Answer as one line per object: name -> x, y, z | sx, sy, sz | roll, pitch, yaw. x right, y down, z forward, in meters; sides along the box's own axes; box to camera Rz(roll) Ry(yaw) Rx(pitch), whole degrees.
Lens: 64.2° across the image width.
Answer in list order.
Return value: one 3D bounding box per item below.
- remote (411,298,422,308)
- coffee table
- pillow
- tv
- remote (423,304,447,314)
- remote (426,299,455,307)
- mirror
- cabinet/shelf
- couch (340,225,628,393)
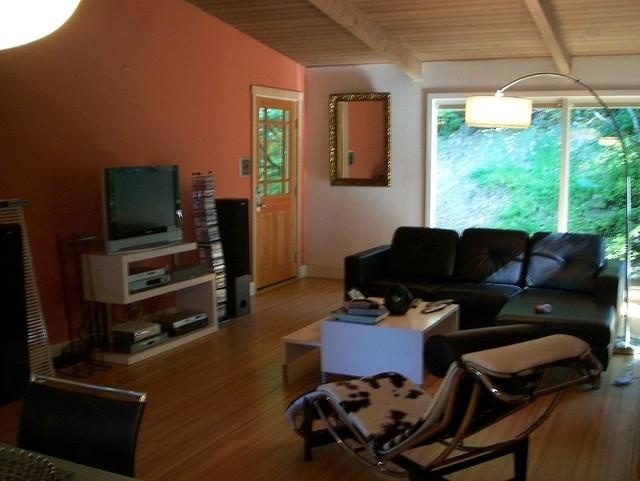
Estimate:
remote -> 0.793, 0.527, 4.276 | 0.064, 0.017, 0.091 | 3, 13, 25
coffee table -> 0.332, 0.780, 3.949 | 0.844, 0.346, 0.800 | 2, 5, 27
pillow -> 0.894, 0.633, 2.806 | 0.757, 0.312, 0.260 | -7, 11, -10
tv -> -1.674, -0.276, 4.681 | 0.398, 0.797, 0.937 | 1, 6, 33
remote -> 0.909, 0.556, 4.128 | 0.140, 0.024, 0.077 | -6, 8, -5
remote -> 0.996, 0.515, 4.245 | 0.198, 0.041, 0.094 | -5, 6, -14
mirror -> 0.559, -1.427, 7.224 | 0.866, 1.313, 0.159 | 0, 10, 24
cabinet/shelf -> -1.635, 0.615, 4.694 | 0.399, 0.839, 1.108 | 1, 8, 27
couch -> 1.652, 0.818, 4.637 | 2.087, 0.809, 1.380 | 1, 4, 27
